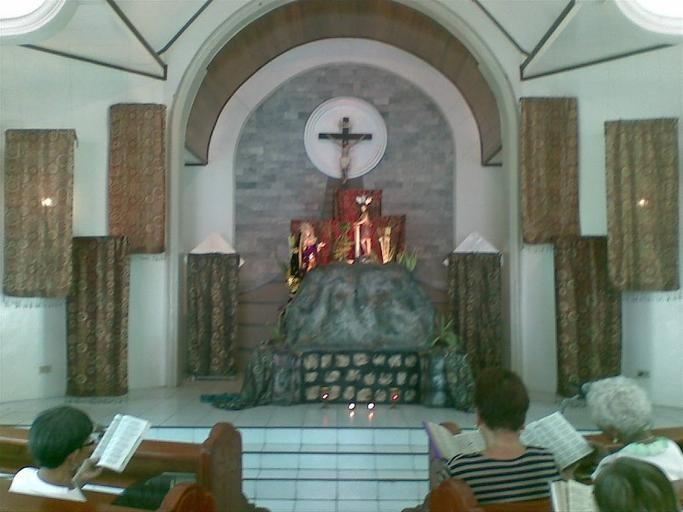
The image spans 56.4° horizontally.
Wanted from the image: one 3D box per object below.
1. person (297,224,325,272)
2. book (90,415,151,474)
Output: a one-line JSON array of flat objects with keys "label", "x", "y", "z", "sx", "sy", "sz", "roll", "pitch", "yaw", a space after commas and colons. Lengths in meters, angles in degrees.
[{"label": "person", "x": -0.454, "y": -0.144, "z": 9.747, "sx": 0.401, "sy": 0.774, "sz": 0.196, "roll": -2, "pitch": -2, "yaw": -3}, {"label": "book", "x": -1.554, "y": 1.395, "z": 4.592, "sx": 0.386, "sy": 0.399, "sz": 0.128, "roll": 16, "pitch": -28, "yaw": 19}]
